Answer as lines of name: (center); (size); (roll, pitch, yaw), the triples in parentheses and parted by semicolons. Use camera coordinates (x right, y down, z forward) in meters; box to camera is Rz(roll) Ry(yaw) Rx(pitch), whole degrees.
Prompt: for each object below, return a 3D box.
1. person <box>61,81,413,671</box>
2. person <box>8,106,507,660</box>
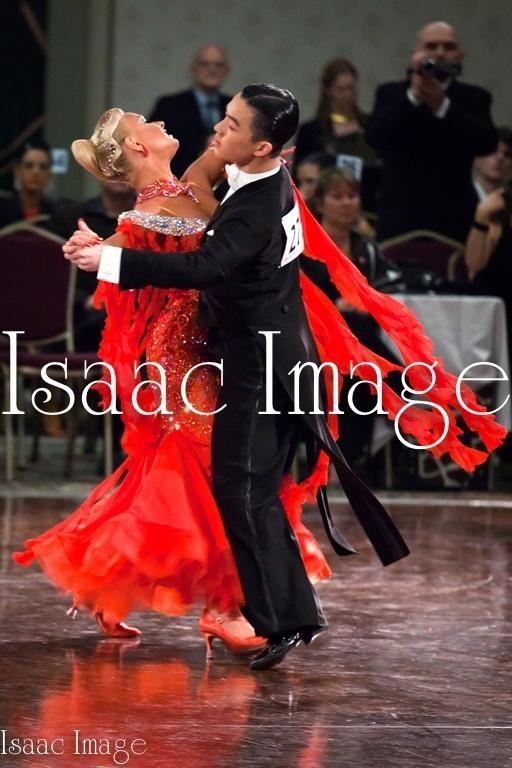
person: (-0.008, -0.039, 1.535); (0.661, 1.005, 0.267); (0, 2, -39)
person: (-0.088, 0.059, 2.357); (1.253, 1.332, 1.248); (1, -2, -33)
